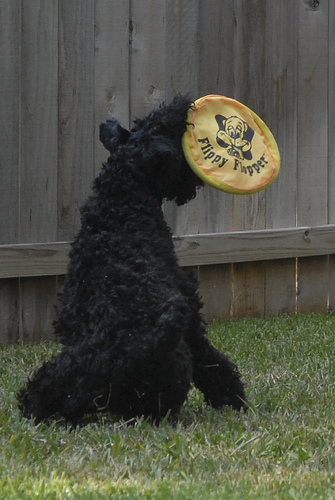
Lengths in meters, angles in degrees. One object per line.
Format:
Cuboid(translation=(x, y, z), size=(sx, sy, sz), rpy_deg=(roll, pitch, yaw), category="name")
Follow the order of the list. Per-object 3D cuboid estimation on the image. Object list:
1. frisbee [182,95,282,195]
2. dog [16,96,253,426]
Cuboid(translation=(0.222, -0.373, 3.267), size=(0.300, 0.314, 0.074), rpy_deg=(9, -29, -26), category="frisbee")
Cuboid(translation=(-0.081, 0.039, 3.280), size=(0.522, 1.009, 0.638), rpy_deg=(5, 8, 43), category="dog")
